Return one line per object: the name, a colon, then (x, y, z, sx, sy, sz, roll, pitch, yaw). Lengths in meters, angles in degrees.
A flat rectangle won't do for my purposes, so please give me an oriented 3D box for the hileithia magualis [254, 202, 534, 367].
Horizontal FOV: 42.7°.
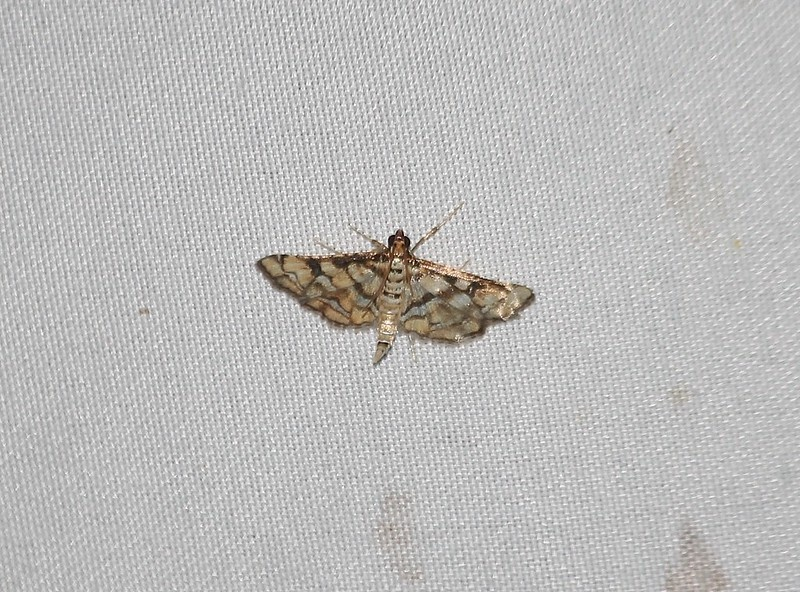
hileithia magualis: (-0.015, -0.048, 3.353, 0.672, 0.114, 0.505, 42, 83, 5)
